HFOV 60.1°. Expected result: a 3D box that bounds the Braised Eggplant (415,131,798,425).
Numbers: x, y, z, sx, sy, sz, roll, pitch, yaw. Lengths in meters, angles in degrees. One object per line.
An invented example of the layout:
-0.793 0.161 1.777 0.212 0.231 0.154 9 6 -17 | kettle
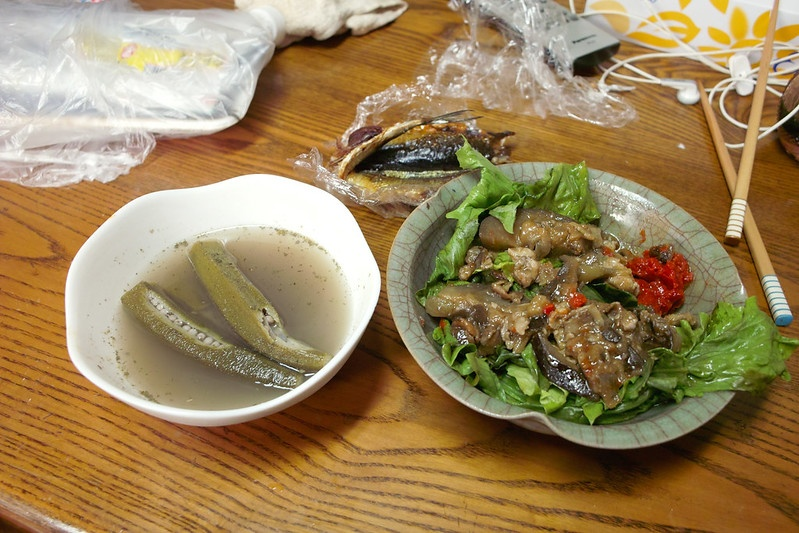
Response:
0.770 0.110 2.624 1.329 0.298 1.012 16 73 8 | Braised Eggplant

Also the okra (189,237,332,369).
-0.604 0.161 2.778 0.280 0.168 0.818 -32 65 -30 | okra
